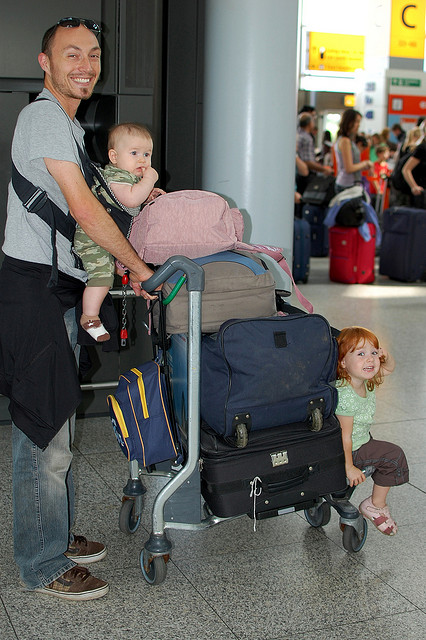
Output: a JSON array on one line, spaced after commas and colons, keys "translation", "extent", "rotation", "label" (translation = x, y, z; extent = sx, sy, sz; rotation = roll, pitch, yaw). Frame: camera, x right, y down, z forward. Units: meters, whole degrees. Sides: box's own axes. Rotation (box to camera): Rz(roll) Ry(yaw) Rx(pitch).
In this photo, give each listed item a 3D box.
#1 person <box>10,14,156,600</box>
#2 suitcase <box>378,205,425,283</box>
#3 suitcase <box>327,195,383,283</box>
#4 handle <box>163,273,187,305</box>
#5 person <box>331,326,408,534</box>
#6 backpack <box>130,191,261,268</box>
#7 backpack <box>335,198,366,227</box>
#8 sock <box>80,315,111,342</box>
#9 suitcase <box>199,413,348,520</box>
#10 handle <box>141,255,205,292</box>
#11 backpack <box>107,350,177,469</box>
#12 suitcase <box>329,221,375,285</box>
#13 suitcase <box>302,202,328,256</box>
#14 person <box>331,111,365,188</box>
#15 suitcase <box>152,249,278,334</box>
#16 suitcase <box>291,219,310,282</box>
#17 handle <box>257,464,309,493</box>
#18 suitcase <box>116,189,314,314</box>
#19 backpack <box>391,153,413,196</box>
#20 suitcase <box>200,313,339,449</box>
[{"translation": [-0.395, 0.009, 1.496], "extent": [0.416, 1.595, 0.460], "rotation": [2, 4, -7], "label": "person"}, {"translation": [2.685, -1.080, 7.537], "extent": [0.496, 1.090, 0.811], "rotation": [0, 4, -23], "label": "suitcase"}, {"translation": [1.891, -1.067, 7.216], "extent": [0.675, 1.103, 0.806], "rotation": [3, 4, 13], "label": "suitcase"}, {"translation": [-0.095, -0.087, 1.432], "extent": [0.076, 0.023, 0.058], "rotation": [-52, 0, -34], "label": "handle"}, {"translation": [0.529, 0.393, 1.910], "extent": [0.329, 0.742, 0.243], "rotation": [1, 21, 10], "label": "person"}, {"translation": [-0.044, -0.246, 1.521], "extent": [0.302, 0.141, 0.218], "rotation": [-5, 4, -18], "label": "backpack"}, {"translation": [1.779, -1.376, 6.868], "extent": [0.350, 0.339, 0.362], "rotation": [-7, 13, -25], "label": "backpack"}, {"translation": [-0.349, 0.021, 1.566], "extent": [0.055, 0.082, 0.033], "rotation": [-36, 14, -14], "label": "sock"}, {"translation": [0.186, 0.434, 1.724], "extent": [0.402, 0.200, 0.530], "rotation": [-12, 2, -8], "label": "suitcase"}, {"translation": [-0.107, -0.121, 1.399], "extent": [0.119, 0.093, 0.147], "rotation": [0, 5, -29], "label": "handle"}, {"translation": [-0.223, 0.300, 1.655], "extent": [0.199, 0.392, 0.228], "rotation": [1, 4, -12], "label": "backpack"}, {"translation": [1.895, -0.900, 7.344], "extent": [0.607, 0.805, 0.624], "rotation": [3, 4, 14], "label": "suitcase"}, {"translation": [1.701, -1.590, 9.441], "extent": [0.655, 0.994, 0.572], "rotation": [2, 10, 12], "label": "suitcase"}, {"translation": [1.898, -2.299, 7.486], "extent": [0.424, 1.100, 1.275], "rotation": [3, 4, 12], "label": "person"}, {"translation": [0.023, -0.076, 1.552], "extent": [0.279, 0.169, 0.276], "rotation": [-5, 6, 1], "label": "suitcase"}, {"translation": [1.194, -0.951, 7.262], "extent": [0.214, 0.865, 0.430], "rotation": [3, 4, 9], "label": "suitcase"}, {"translation": [0.187, 0.439, 1.490], "extent": [0.104, 0.024, 0.101], "rotation": [-8, 0, -5], "label": "handle"}, {"translation": [0.038, -0.282, 1.662], "extent": [0.596, 0.227, 0.389], "rotation": [4, 10, -23], "label": "suitcase"}, {"translation": [2.786, -2.139, 7.877], "extent": [0.165, 0.638, 0.362], "rotation": [1, 4, -16], "label": "backpack"}, {"translation": [0.146, 0.146, 1.515], "extent": [0.387, 0.332, 0.237], "rotation": [-7, 18, -30], "label": "suitcase"}]
